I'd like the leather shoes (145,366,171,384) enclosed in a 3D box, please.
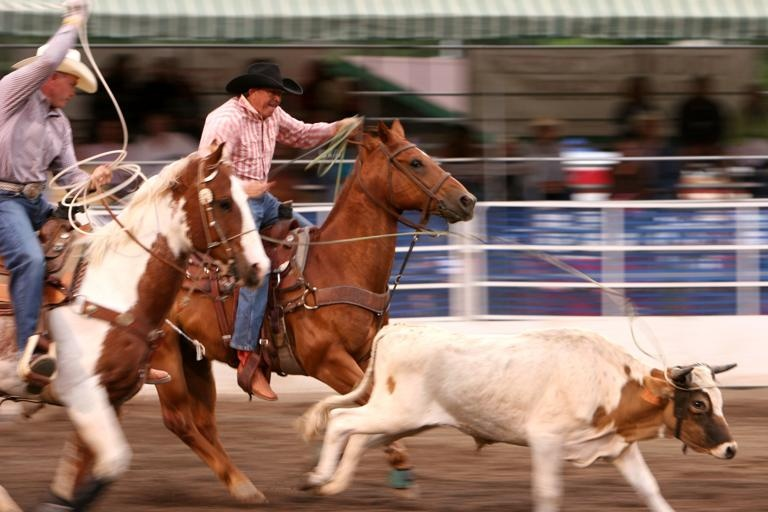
[{"bbox_3d":[-1.611,0.859,9.518,0.269,0.103,0.100,-2,1,-7],"label":"leather shoes"}]

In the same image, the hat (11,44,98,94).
[{"bbox_3d":[-2.283,-1.352,9.382,0.521,0.155,0.412,15,-12,34],"label":"hat"}]

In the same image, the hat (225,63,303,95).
[{"bbox_3d":[-0.914,-1.362,10.262,0.613,0.161,0.380,2,2,11],"label":"hat"}]
